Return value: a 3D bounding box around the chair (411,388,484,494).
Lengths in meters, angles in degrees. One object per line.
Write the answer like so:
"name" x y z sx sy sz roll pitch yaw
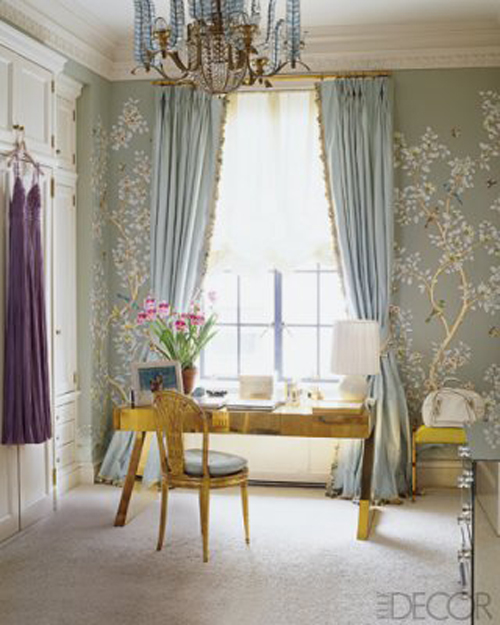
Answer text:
"chair" 1.225 0.822 3.719 0.388 0.729 0.527 2 -5 11

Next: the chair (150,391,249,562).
"chair" -0.234 0.781 3.037 0.493 0.863 0.687 1 3 -5

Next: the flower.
"flower" -0.439 0.136 3.522 0.381 0.521 0.473 -1 -7 2

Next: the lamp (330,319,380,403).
"lamp" 0.587 0.261 3.269 0.233 0.508 0.246 9 16 40

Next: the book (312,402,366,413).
"book" 0.466 0.501 3.055 0.285 0.044 0.161 3 3 0

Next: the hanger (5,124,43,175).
"hanger" -1.227 -0.874 3.134 0.035 0.293 0.296 -4 -2 14

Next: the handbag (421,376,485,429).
"handbag" 1.289 0.594 3.667 0.364 0.408 0.245 -6 -35 28

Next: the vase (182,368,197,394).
"vase" -0.349 0.387 3.359 0.088 0.146 0.109 -4 8 -15
